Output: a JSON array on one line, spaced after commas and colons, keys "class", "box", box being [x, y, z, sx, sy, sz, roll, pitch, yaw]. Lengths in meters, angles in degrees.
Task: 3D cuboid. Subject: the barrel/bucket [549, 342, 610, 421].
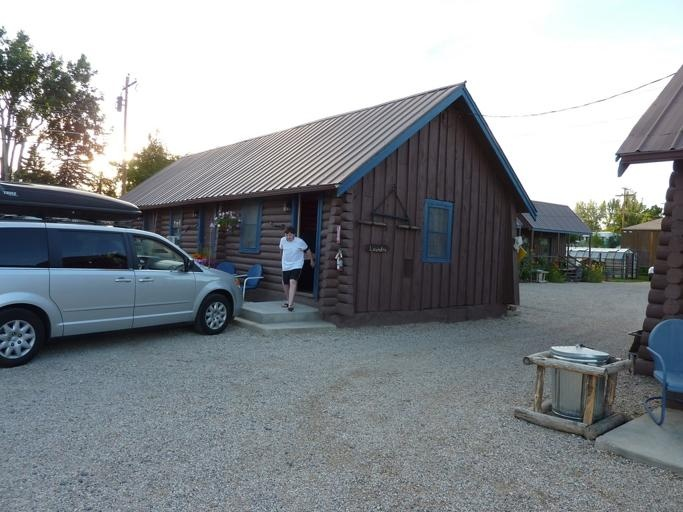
[{"class": "barrel/bucket", "box": [2.842, 1.507, 5.277, 0.656, 0.871, 0.536, 4, 4, 24]}]

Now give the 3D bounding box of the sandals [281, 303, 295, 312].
[{"class": "sandals", "box": [-1.256, 1.214, 10.264, 0.140, 0.193, 0.412, -2, 15, -44]}]

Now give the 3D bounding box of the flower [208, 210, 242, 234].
[{"class": "flower", "box": [-3.463, -1.030, 13.190, 0.727, 0.680, 0.708, 1, 5, 35]}]

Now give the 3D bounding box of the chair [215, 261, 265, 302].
[{"class": "chair", "box": [-2.852, 0.694, 12.224, 0.990, 1.770, 1.177, 1, -4, 39]}]

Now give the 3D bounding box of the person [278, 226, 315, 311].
[{"class": "person", "box": [-1.125, 0.271, 10.415, 0.653, 1.906, 0.866, 1, 4, -20]}]
